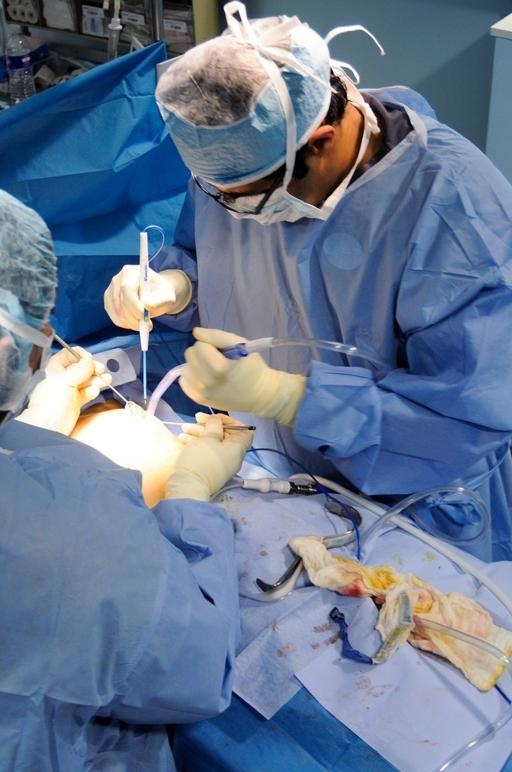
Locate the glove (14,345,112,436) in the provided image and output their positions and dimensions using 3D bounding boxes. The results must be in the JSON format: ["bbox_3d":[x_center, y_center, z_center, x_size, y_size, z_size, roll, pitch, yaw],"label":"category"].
[{"bbox_3d":[-0.433,0.016,1.456,0.118,0.099,0.213,11,14,8],"label":"glove"}]

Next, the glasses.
[{"bbox_3d":[-0.027,-0.365,1.286,0.113,0.034,0.113,29,71,31],"label":"glasses"}]

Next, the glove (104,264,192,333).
[{"bbox_3d":[-0.305,-0.257,1.831,0.218,0.149,0.151,-16,-14,-46],"label":"glove"}]

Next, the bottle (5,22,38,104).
[{"bbox_3d":[-1.143,-1.556,3.137,0.145,0.340,0.513,-11,26,-14],"label":"bottle"}]

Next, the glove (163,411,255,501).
[{"bbox_3d":[-0.100,0.153,1.482,0.070,0.252,0.094,-27,49,-37],"label":"glove"}]
